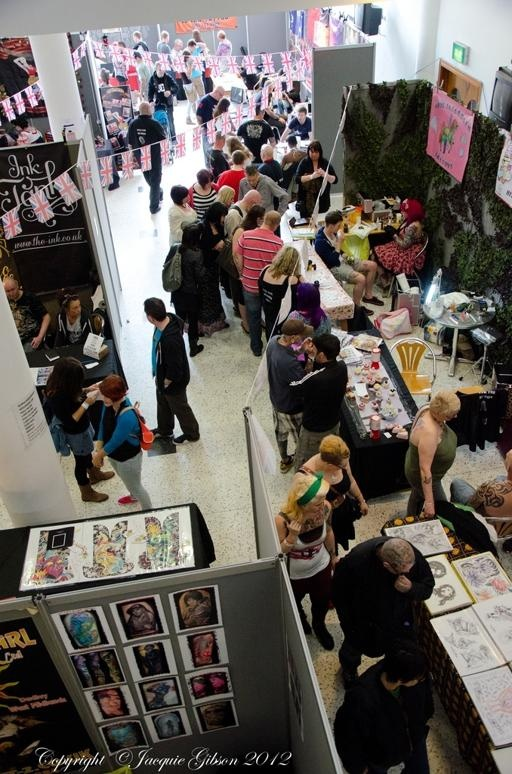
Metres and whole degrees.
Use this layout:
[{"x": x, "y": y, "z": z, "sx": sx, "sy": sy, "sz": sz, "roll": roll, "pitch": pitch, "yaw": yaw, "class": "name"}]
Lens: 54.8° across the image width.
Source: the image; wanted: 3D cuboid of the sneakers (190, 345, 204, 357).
[{"x": -0.746, "y": -0.463, "z": 6.115, "sx": 0.075, "sy": 0.089, "sz": 0.204, "roll": 24, "pitch": 80, "yaw": 49, "class": "sneakers"}]

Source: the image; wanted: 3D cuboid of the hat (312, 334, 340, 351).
[{"x": 0.473, "y": -0.316, "z": 3.341, "sx": 0.108, "sy": 0.149, "sz": 0.146, "roll": -13, "pitch": 18, "yaw": -26, "class": "hat"}]

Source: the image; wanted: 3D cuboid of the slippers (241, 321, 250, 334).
[{"x": -0.141, "y": -0.776, "z": 6.386, "sx": 0.061, "sy": 0.087, "sz": 0.204, "roll": -10, "pitch": 38, "yaw": -12, "class": "slippers"}]

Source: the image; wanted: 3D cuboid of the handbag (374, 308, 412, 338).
[{"x": 1.625, "y": -0.762, "z": 5.909, "sx": 0.369, "sy": 0.203, "sz": 0.438, "roll": -11, "pitch": 38, "yaw": -15, "class": "handbag"}]

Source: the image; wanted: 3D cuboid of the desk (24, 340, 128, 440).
[{"x": -1.649, "y": -0.005, "z": 4.805, "sx": 0.823, "sy": 0.771, "sz": 0.859, "roll": -19, "pitch": 35, "yaw": -21, "class": "desk"}]

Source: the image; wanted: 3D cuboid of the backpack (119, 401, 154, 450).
[{"x": -0.815, "y": 0.217, "z": 3.515, "sx": 0.330, "sy": 0.315, "sz": 0.234, "roll": -7, "pitch": 53, "yaw": -21, "class": "backpack"}]

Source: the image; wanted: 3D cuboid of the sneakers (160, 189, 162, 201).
[{"x": -1.821, "y": -3.705, "z": 9.558, "sx": 0.058, "sy": 0.176, "sz": 0.121, "roll": 0, "pitch": -5, "yaw": 1, "class": "sneakers"}]

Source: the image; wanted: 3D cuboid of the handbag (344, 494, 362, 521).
[{"x": 0.601, "y": 0.740, "z": 3.078, "sx": 0.060, "sy": 0.054, "sz": 0.204, "roll": -24, "pitch": 10, "yaw": 16, "class": "handbag"}]

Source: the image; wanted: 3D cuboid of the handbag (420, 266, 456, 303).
[{"x": 2.485, "y": -1.385, "z": 6.640, "sx": 0.418, "sy": 0.433, "sz": 0.110, "roll": 14, "pitch": 3, "yaw": 17, "class": "handbag"}]

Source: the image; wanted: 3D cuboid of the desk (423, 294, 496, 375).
[{"x": 2.243, "y": -0.614, "z": 5.554, "sx": 0.703, "sy": 0.719, "sz": 0.763, "roll": 14, "pitch": 37, "yaw": 27, "class": "desk"}]

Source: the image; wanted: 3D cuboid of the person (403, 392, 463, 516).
[{"x": 1.207, "y": 0.468, "z": 3.418, "sx": 0.265, "sy": 0.899, "sz": 0.446, "roll": -6, "pitch": 63, "yaw": 12, "class": "person"}]

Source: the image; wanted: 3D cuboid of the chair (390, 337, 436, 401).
[{"x": 1.532, "y": -0.163, "z": 4.839, "sx": 0.536, "sy": 0.819, "sz": 0.608, "roll": 0, "pitch": 79, "yaw": 12, "class": "chair"}]

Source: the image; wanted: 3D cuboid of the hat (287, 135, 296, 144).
[{"x": 0.559, "y": -3.803, "z": 7.696, "sx": 0.109, "sy": 0.154, "sz": 0.154, "roll": -5, "pitch": 11, "yaw": 2, "class": "hat"}]

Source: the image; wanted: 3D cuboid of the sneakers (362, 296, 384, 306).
[{"x": 1.576, "y": -1.164, "z": 6.723, "sx": 0.284, "sy": 0.113, "sz": 0.107, "roll": 17, "pitch": 35, "yaw": -4, "class": "sneakers"}]

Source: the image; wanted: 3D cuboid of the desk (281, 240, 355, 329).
[{"x": 0.739, "y": -1.210, "z": 5.592, "sx": 0.605, "sy": 1.019, "sz": 1.143, "roll": -9, "pitch": 33, "yaw": -6, "class": "desk"}]

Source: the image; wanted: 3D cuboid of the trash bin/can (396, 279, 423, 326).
[{"x": 1.941, "y": -1.056, "z": 6.506, "sx": 0.381, "sy": 0.517, "sz": 0.713, "roll": 4, "pitch": 50, "yaw": 10, "class": "trash bin/can"}]

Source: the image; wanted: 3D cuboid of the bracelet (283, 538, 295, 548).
[{"x": 0.161, "y": 0.756, "z": 2.425, "sx": 0.040, "sy": 0.042, "sz": 0.043, "roll": -9, "pitch": 70, "yaw": 21, "class": "bracelet"}]

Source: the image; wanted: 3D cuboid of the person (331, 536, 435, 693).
[{"x": 0.601, "y": 1.146, "z": 2.526, "sx": 0.439, "sy": 1.138, "sz": 0.338, "roll": 9, "pitch": 32, "yaw": 19, "class": "person"}]

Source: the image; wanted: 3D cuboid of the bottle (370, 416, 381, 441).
[{"x": 0.928, "y": 0.316, "z": 3.848, "sx": 0.097, "sy": 0.180, "sz": 0.100, "roll": -5, "pitch": 31, "yaw": 3, "class": "bottle"}]

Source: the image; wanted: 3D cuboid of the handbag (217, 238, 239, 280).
[{"x": -0.320, "y": -1.493, "z": 5.689, "sx": 0.138, "sy": 0.338, "sz": 0.333, "roll": -18, "pitch": 73, "yaw": -27, "class": "handbag"}]

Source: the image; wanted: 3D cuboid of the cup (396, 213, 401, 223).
[{"x": 1.992, "y": -2.363, "z": 6.928, "sx": 0.071, "sy": 0.111, "sz": 0.072, "roll": -3, "pitch": 56, "yaw": 4, "class": "cup"}]

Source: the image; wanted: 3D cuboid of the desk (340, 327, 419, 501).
[{"x": 1.039, "y": 0.258, "z": 4.198, "sx": 0.573, "sy": 0.583, "sz": 1.072, "roll": -9, "pitch": 71, "yaw": -1, "class": "desk"}]

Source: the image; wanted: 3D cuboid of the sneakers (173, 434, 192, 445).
[{"x": -0.733, "y": 0.516, "z": 4.922, "sx": 0.199, "sy": 0.084, "sz": 0.085, "roll": 1, "pitch": 38, "yaw": -23, "class": "sneakers"}]

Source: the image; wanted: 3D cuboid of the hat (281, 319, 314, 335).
[{"x": 0.311, "y": -0.451, "z": 3.656, "sx": 0.188, "sy": 0.108, "sz": 0.121, "roll": -3, "pitch": 49, "yaw": -5, "class": "hat"}]

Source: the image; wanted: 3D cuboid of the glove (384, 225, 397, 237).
[{"x": 1.822, "y": -2.140, "z": 6.794, "sx": 0.082, "sy": 0.138, "sz": 0.172, "roll": -43, "pitch": 22, "yaw": -9, "class": "glove"}]

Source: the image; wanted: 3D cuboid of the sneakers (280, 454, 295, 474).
[{"x": 0.288, "y": 0.706, "z": 4.565, "sx": 0.075, "sy": 0.089, "sz": 0.197, "roll": 13, "pitch": 57, "yaw": 26, "class": "sneakers"}]

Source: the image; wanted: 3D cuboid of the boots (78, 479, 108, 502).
[{"x": -1.418, "y": 0.925, "z": 4.303, "sx": 0.281, "sy": 0.261, "sz": 0.129, "roll": -8, "pitch": 47, "yaw": -11, "class": "boots"}]

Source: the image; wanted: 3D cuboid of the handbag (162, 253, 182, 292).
[{"x": -0.910, "y": -1.253, "z": 5.437, "sx": 0.202, "sy": 0.456, "sz": 0.368, "roll": 6, "pitch": 29, "yaw": -8, "class": "handbag"}]

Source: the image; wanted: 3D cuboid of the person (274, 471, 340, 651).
[{"x": 0.313, "y": 1.015, "z": 2.768, "sx": 0.234, "sy": 1.573, "sz": 0.485, "roll": 9, "pitch": 35, "yaw": 21, "class": "person"}]
